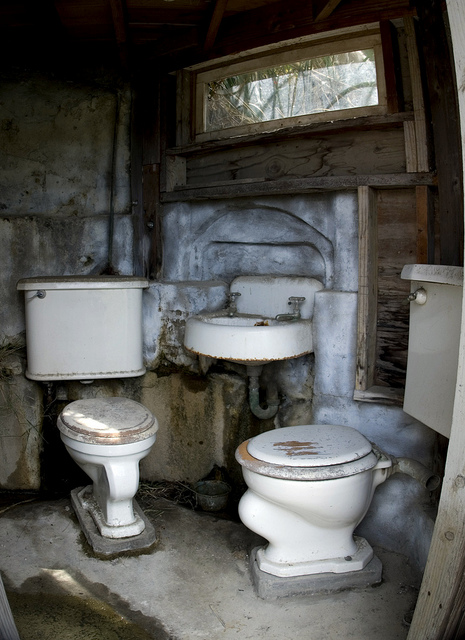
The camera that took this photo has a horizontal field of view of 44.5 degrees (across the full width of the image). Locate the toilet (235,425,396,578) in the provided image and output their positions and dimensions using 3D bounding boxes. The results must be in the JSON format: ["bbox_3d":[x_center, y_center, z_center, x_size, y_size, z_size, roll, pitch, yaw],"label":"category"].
[{"bbox_3d":[0.237,0.619,1.948,0.522,0.347,0.422,-3,8,-15],"label":"toilet"}]

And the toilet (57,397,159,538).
[{"bbox_3d":[-0.462,0.579,2.354,0.439,0.425,0.513,-2,10,-28],"label":"toilet"}]

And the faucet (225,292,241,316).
[{"bbox_3d":[-0.003,-0.066,2.665,0.094,0.130,0.098,-2,7,-5],"label":"faucet"}]

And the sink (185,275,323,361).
[{"bbox_3d":[0.068,-0.012,2.458,0.531,0.264,0.398,8,16,37],"label":"sink"}]

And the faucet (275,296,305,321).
[{"bbox_3d":[0.240,-0.038,2.421,0.135,0.101,0.076,0,8,-1],"label":"faucet"}]
